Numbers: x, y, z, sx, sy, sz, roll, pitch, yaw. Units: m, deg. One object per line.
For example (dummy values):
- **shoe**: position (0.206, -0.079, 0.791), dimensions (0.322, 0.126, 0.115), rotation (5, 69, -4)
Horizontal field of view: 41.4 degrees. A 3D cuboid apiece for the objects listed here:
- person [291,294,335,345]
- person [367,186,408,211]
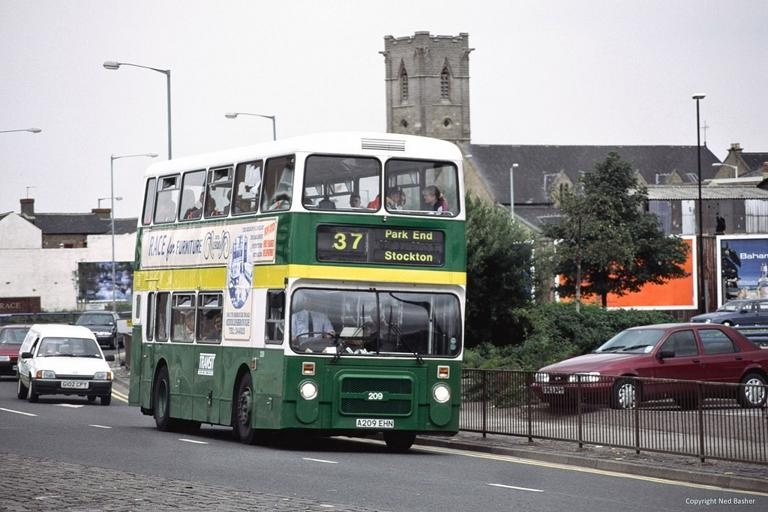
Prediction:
- **person**: position (-1.481, 1.380, 21.090), dimensions (0.738, 1.154, 0.783), rotation (-11, -3, 24)
- **person**: position (0.105, -1.172, 21.371), dimensions (0.701, 0.383, 0.432), rotation (-13, 14, -4)
